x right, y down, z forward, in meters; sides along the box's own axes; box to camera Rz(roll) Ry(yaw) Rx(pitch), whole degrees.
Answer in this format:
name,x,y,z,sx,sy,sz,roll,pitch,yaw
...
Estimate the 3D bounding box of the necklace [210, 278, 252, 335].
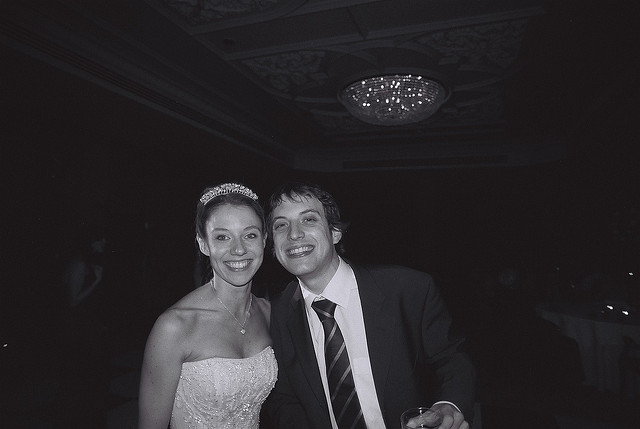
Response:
name,x,y,z,sx,sy,sz,roll,pitch,yaw
necklace,-0.796,0.821,4.553,0.378,0.461,0.221,4,-7,-11
